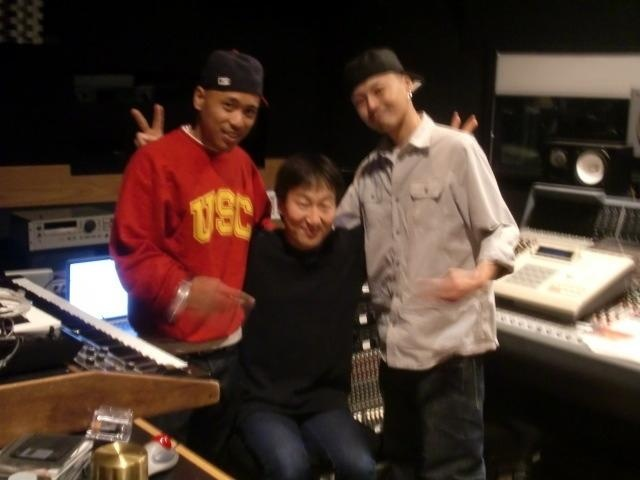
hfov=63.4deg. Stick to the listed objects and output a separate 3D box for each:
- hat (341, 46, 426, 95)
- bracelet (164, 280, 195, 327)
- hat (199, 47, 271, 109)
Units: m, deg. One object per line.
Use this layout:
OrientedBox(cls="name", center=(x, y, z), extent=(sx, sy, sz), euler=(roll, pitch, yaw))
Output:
OrientedBox(cls="hat", center=(0.224, -0.589, 1.935), extent=(0.217, 0.132, 0.253), euler=(-35, 9, -14))
OrientedBox(cls="bracelet", center=(-0.470, 0.210, 1.735), extent=(0.027, 0.109, 0.112), euler=(23, 9, 4))
OrientedBox(cls="hat", center=(-0.325, -0.607, 1.940), extent=(0.217, 0.134, 0.159), euler=(8, 10, -18))
